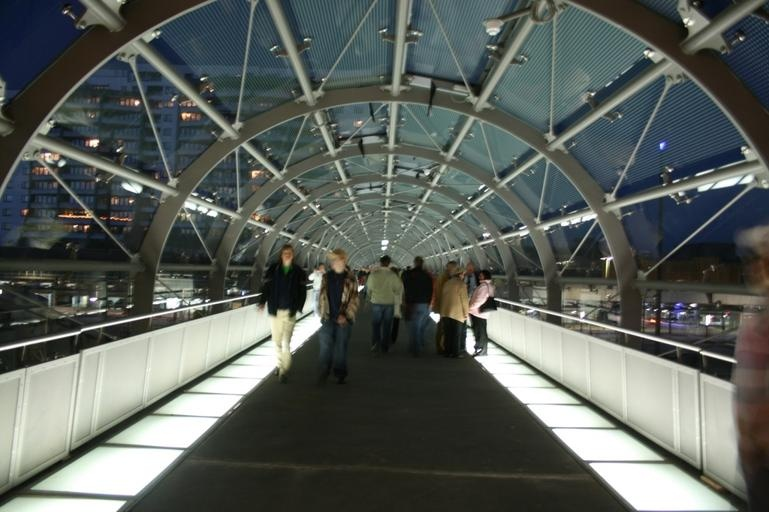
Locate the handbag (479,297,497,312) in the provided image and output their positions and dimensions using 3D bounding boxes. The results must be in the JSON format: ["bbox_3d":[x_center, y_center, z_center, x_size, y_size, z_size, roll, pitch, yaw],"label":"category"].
[{"bbox_3d":[2.495,1.171,13.280,0.427,0.406,0.166,1,-7,-9],"label":"handbag"}]
